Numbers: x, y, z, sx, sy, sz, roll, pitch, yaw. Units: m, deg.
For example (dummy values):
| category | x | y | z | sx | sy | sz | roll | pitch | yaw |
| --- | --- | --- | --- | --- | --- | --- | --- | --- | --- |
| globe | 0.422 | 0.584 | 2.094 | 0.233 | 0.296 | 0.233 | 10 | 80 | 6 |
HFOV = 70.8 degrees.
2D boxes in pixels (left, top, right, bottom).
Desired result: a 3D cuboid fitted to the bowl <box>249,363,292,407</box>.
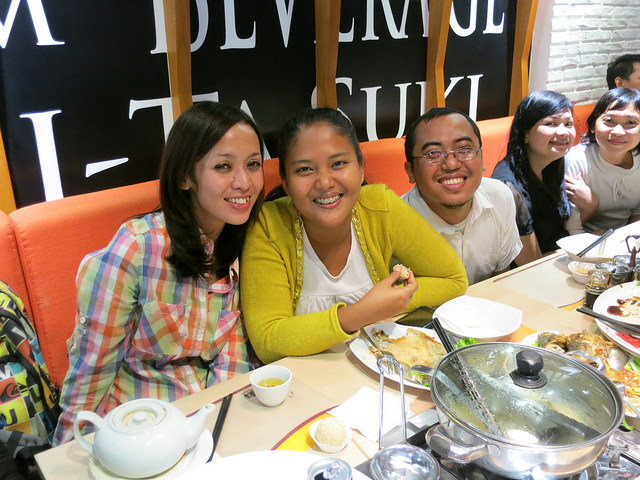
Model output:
| category | x | y | z | sx | sy | sz | roll | pitch | yaw |
| --- | --- | --- | --- | --- | --- | --- | --- | --- | --- |
| bowl | -0.141 | 0.392 | 1.271 | 0.093 | 0.070 | 0.103 | -2 | 13 | -3 |

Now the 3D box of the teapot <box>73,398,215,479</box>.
| category | x | y | z | sx | sy | sz | roll | pitch | yaw |
| --- | --- | --- | --- | --- | --- | --- | --- | --- | --- |
| teapot | -0.405 | 0.444 | 1.015 | 0.242 | 0.103 | 0.174 | 0 | 28 | -11 |

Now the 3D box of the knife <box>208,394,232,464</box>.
| category | x | y | z | sx | sy | sz | roll | pitch | yaw |
| --- | --- | --- | --- | --- | --- | --- | --- | --- | --- |
| knife | -0.267 | 0.474 | 1.162 | 0.014 | 0.166 | 0.007 | 16 | -24 | -20 |

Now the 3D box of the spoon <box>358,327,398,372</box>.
| category | x | y | z | sx | sy | sz | roll | pitch | yaw |
| --- | --- | --- | --- | --- | --- | --- | --- | --- | --- |
| spoon | 0.180 | 0.336 | 1.355 | 0.038 | 0.026 | 0.221 | -39 | 30 | 4 |

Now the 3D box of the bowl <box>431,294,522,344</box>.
| category | x | y | z | sx | sy | sz | roll | pitch | yaw |
| --- | --- | --- | --- | --- | --- | --- | --- | --- | --- |
| bowl | 0.549 | 0.271 | 1.564 | 0.198 | 0.062 | 0.204 | -3 | 24 | 1 |

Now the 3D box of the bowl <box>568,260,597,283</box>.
| category | x | y | z | sx | sy | sz | roll | pitch | yaw |
| --- | --- | --- | --- | --- | --- | --- | --- | --- | --- |
| bowl | 1.098 | 0.122 | 1.895 | 0.120 | 0.048 | 0.095 | -9 | 24 | -25 |
